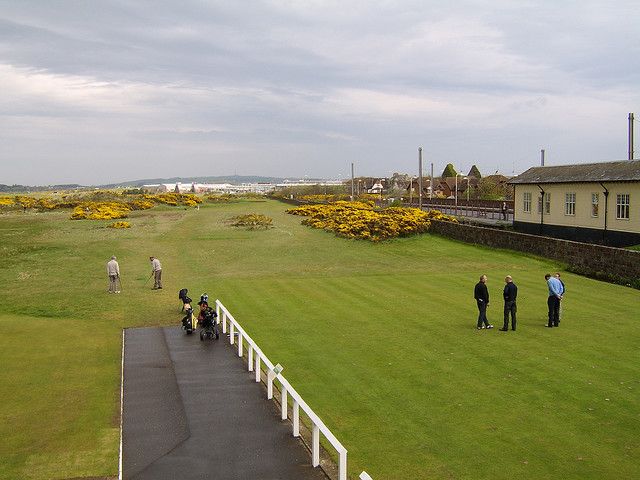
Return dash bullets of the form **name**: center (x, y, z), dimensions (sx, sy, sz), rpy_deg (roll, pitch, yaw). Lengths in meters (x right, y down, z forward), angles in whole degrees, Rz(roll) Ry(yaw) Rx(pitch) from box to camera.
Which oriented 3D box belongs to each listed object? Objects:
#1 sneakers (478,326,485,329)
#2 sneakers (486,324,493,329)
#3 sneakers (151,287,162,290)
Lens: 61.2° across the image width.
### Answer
- **sneakers**: center (6.131, 3.335, 20.715), dimensions (0.274, 0.093, 0.084), rpy_deg (-14, 6, 15)
- **sneakers**: center (6.531, 3.330, 20.957), dimensions (0.122, 0.123, 0.355), rpy_deg (-3, -6, 10)
- **sneakers**: center (-8.326, 2.451, 27.619), dimensions (0.498, 0.239, 0.146), rpy_deg (3, -5, 1)
